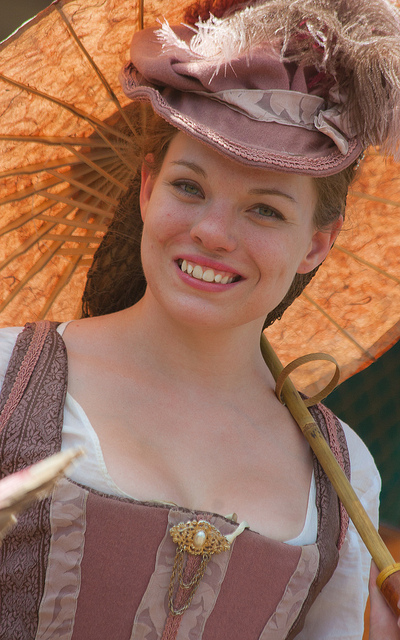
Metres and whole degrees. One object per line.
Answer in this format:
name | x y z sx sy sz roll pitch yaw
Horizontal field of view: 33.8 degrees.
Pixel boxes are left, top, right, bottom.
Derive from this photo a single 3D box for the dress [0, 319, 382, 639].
dress | -0.028 0.321 1.272 0.729 0.370 0.572 14 65 -30
